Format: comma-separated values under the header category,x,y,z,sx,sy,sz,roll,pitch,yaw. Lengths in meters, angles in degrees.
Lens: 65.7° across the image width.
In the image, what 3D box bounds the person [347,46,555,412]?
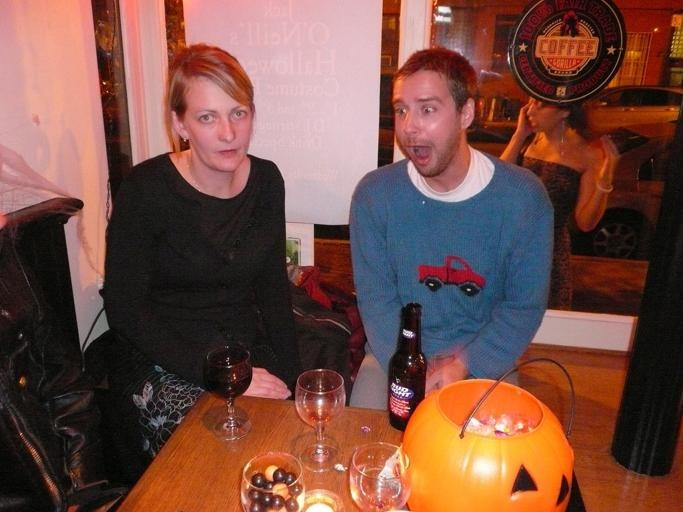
category,x,y,z,sx,sy,sz,roll,pitch,yaw
person,0.390,-0.160,2.055,0.828,1.230,0.530,7,21,20

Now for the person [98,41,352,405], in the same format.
category,x,y,z,sx,sy,sz,roll,pitch,yaw
person,-0.550,-0.137,2.055,0.773,1.303,0.536,-9,21,-23

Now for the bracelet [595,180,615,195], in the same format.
category,x,y,z,sx,sy,sz,roll,pitch,yaw
bracelet,1.470,-0.387,2.958,0.072,0.036,0.093,-1,15,8
